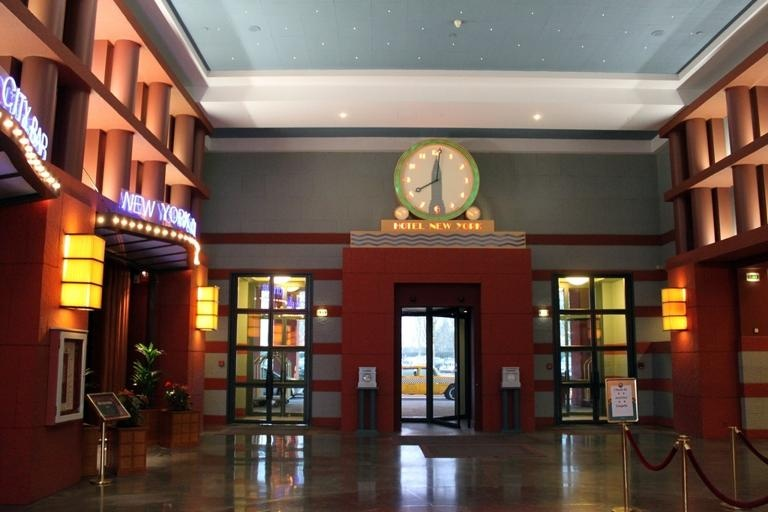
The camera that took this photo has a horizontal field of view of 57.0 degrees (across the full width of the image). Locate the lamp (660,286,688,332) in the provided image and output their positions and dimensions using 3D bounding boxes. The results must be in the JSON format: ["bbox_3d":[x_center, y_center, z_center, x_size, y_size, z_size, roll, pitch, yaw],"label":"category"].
[{"bbox_3d":[7.300,1.325,17.673,0.481,1.090,0.472,-1,-13,2],"label":"lamp"}]

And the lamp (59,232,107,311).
[{"bbox_3d":[-5.626,0.316,13.223,0.638,1.291,0.715,2,-7,-9],"label":"lamp"}]

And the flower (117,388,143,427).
[{"bbox_3d":[-5.136,3.091,14.336,0.461,0.723,1.202,5,-13,-20],"label":"flower"}]

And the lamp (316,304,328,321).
[{"bbox_3d":[-1.702,1.611,19.680,0.355,0.326,0.347,7,-12,-37],"label":"lamp"}]

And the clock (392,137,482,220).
[{"bbox_3d":[1.417,-2.011,19.308,2.397,2.364,0.251,1,-6,-1],"label":"clock"}]

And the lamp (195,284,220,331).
[{"bbox_3d":[-4.445,1.314,17.812,0.442,1.128,0.442,-1,-13,4],"label":"lamp"}]

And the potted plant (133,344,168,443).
[{"bbox_3d":[-5.619,3.165,16.410,0.996,2.252,0.768,11,7,39],"label":"potted plant"}]

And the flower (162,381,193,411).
[{"bbox_3d":[-4.823,3.267,16.361,0.709,0.654,0.712,0,-12,-3],"label":"flower"}]

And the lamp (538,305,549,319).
[{"bbox_3d":[4.523,1.598,19.857,0.324,0.334,0.090,3,-13,-14],"label":"lamp"}]
